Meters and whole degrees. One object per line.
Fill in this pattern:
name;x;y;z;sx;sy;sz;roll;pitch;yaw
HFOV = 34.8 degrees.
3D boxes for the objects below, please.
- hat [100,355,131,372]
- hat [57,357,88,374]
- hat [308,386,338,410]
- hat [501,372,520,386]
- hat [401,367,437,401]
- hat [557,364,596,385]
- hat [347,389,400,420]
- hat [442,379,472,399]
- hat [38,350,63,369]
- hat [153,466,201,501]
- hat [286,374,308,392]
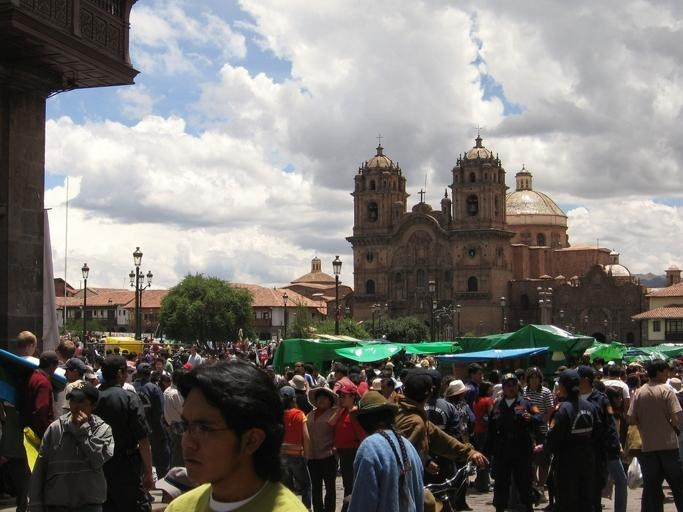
hat;-2.902;1.404;13.972;0.297;0.301;0.353;4;-8;-15
hat;-3.603;1.430;14.626;0.349;0.178;0.241;5;-19;-10
hat;-0.233;2.078;16.308;0.326;0.107;0.322;35;-52;-8
hat;2.548;1.845;16.309;0.226;0.199;0.453;1;-8;6
hat;0.959;1.580;13.365;0.363;0.402;0.480;1;-8;3
hat;3.389;1.660;15.720;0.555;0.268;0.349;-4;-14;8
hat;0.396;1.799;13.197;0.689;0.296;0.774;-9;-16;5
hat;1.817;2.089;17.182;0.286;0.283;0.544;1;-8;5
hat;-3.870;1.404;14.554;0.209;0.257;0.246;14;36;9
hat;-1.682;2.322;11.089;0.382;0.350;0.715;3;-8;-9
hat;-0.658;2.068;17.492;0.348;0.129;0.291;19;6;-43
